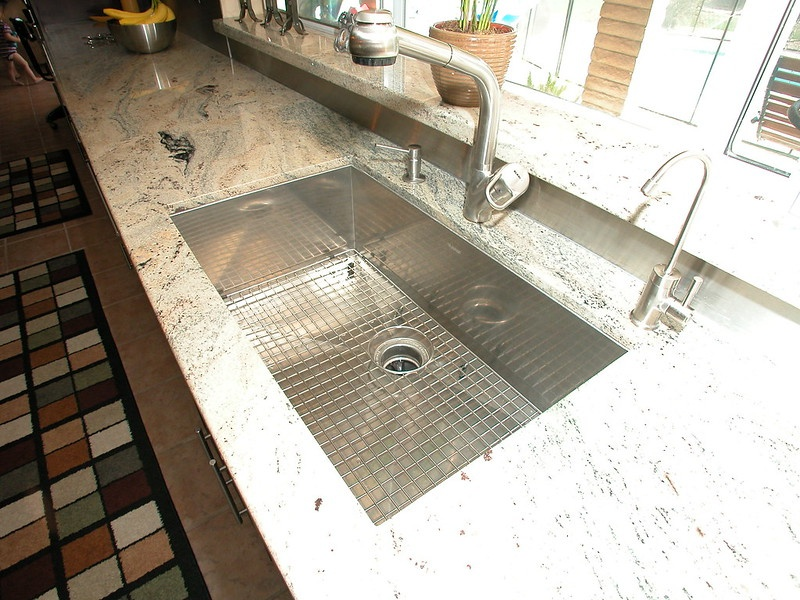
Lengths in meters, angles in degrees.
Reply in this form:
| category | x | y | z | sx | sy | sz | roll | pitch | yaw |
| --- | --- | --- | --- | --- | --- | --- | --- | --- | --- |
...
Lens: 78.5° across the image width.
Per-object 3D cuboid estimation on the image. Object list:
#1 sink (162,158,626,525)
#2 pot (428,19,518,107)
| category | x | y | z | sx | sy | sz | roll | pitch | yaw |
| --- | --- | --- | --- | --- | --- | --- | --- | --- | --- |
| sink | 0.032 | 0.195 | 1.437 | 0.712 | 0.527 | 1.275 | -32 | 54 | -20 |
| pot | 0.161 | -0.588 | 1.242 | 0.214 | 0.178 | 0.232 | -1 | 31 | 0 |
